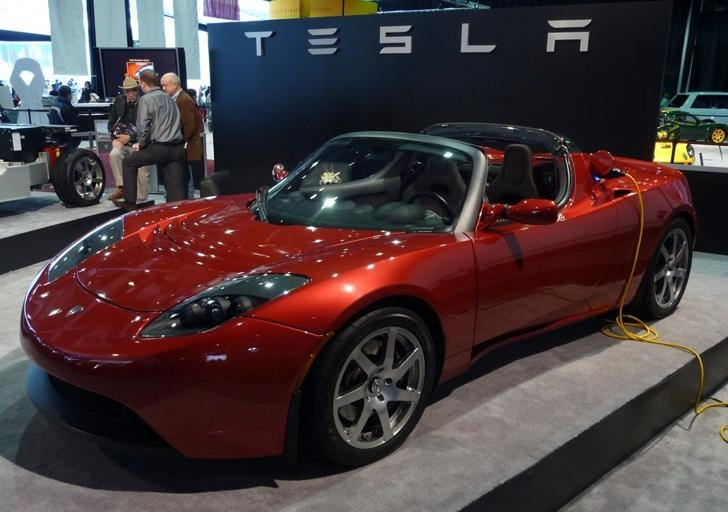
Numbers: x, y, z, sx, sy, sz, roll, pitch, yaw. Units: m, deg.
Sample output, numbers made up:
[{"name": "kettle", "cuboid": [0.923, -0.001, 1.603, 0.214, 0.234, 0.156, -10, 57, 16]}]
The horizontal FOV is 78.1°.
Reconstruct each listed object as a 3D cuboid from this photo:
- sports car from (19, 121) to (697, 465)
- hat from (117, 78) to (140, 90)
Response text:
[{"name": "sports car", "cuboid": [0.374, 0.095, 2.805, 3.859, 1.092, 1.854, -8, 16, -33]}, {"name": "hat", "cuboid": [-3.729, -2.782, 7.240, 0.306, 0.125, 0.327, -12, 24, -14]}]
